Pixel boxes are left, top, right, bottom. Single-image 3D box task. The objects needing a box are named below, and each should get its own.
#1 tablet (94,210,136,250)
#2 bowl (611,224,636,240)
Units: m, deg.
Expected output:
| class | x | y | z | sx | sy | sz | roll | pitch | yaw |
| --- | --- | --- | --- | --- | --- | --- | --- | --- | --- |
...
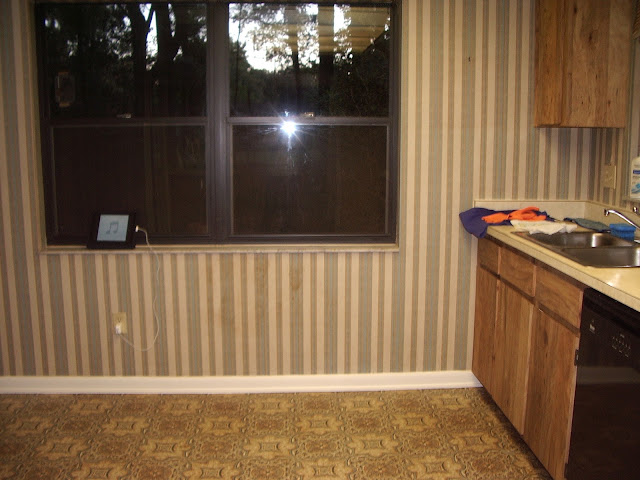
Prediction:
| class | x | y | z | sx | sy | sz | roll | pitch | yaw |
| --- | --- | --- | --- | --- | --- | --- | --- | --- | --- |
| tablet | -1.400 | -0.061 | 3.559 | 0.275 | 0.236 | 0.096 | -2 | 13 | -2 |
| bowl | 1.771 | -0.049 | 3.054 | 0.133 | 0.076 | 0.082 | 7 | 15 | 33 |
